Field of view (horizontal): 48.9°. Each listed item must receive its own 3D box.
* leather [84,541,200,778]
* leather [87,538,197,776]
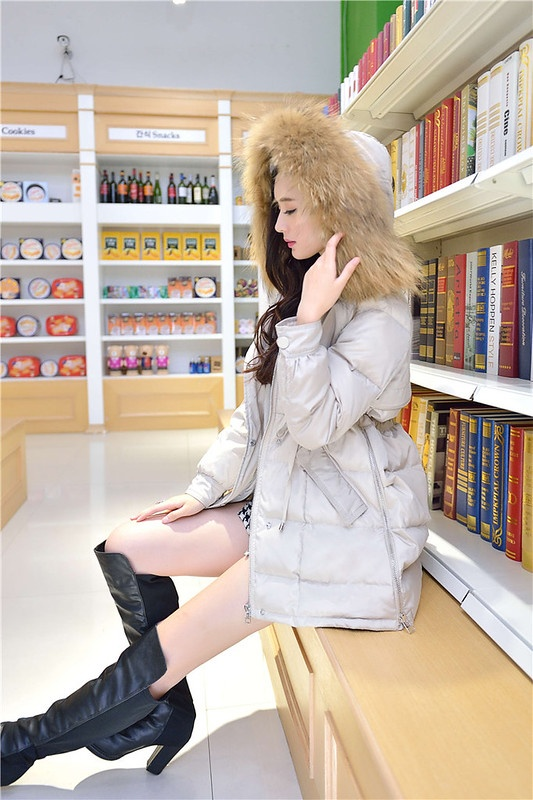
[{"bbox_3d":[-0.290,0.581,1.325,0.282,0.478,0.156,11,10,12],"label":"leather"},{"bbox_3d":[-0.286,0.589,1.327,0.275,0.469,0.159,7,8,11],"label":"leather"}]
